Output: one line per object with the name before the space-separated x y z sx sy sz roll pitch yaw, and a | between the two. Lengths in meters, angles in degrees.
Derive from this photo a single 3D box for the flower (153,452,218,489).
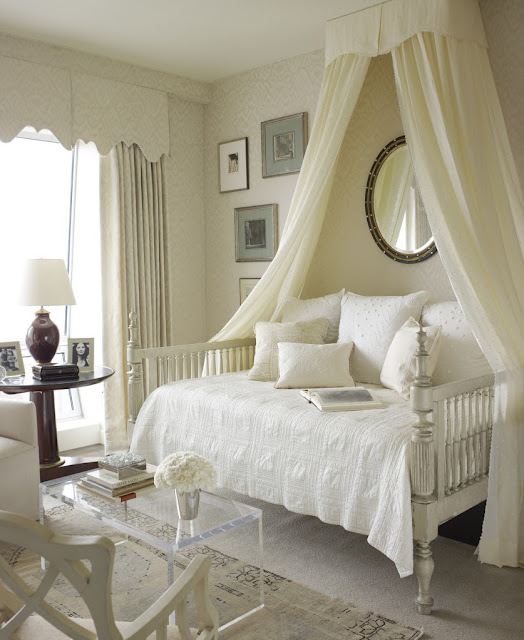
flower | -0.251 0.505 1.791 0.137 0.080 0.138 0 3 -31

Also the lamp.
lamp | -1.316 -0.050 3.278 0.310 0.648 0.322 -1 1 -20

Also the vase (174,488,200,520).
vase | -0.251 0.626 1.801 0.093 0.097 0.097 -1 -3 -1

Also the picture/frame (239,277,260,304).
picture/frame | -0.089 -0.227 4.009 0.009 0.236 0.222 -7 12 -36

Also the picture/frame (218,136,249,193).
picture/frame | -0.230 -1.299 4.414 0.058 0.573 0.475 -1 3 -40

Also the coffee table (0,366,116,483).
coffee table | -1.304 0.667 3.304 0.638 0.571 0.641 7 9 42

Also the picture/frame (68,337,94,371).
picture/frame | -1.176 0.228 3.444 0.192 0.269 0.010 0 -2 -8

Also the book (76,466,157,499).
book | -0.530 0.616 2.028 0.134 0.034 0.135 4 6 39

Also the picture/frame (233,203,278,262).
picture/frame | -0.037 -0.709 4.268 0.041 0.598 0.564 -1 3 -38

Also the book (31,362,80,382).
book | -1.219 0.312 3.134 0.257 0.085 0.179 -1 0 -20

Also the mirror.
mirror | 0.842 -0.729 3.263 0.059 0.781 0.489 -1 1 -40

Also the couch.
couch | 0.323 0.388 2.665 1.435 1.037 1.134 1 4 43
